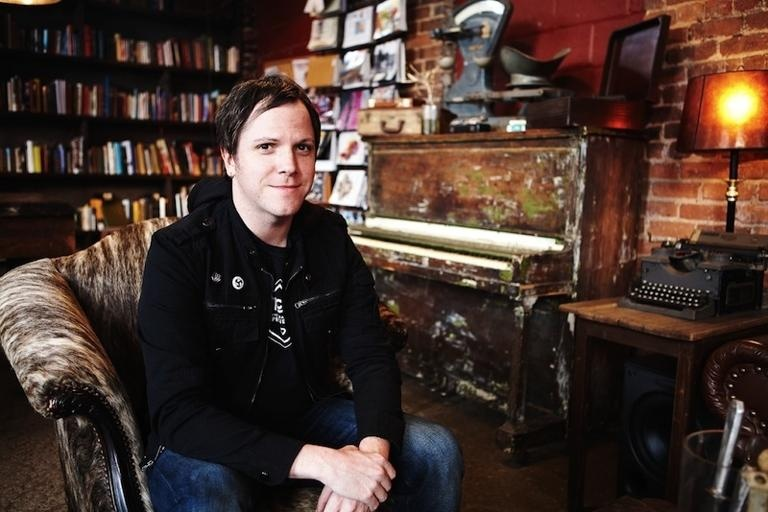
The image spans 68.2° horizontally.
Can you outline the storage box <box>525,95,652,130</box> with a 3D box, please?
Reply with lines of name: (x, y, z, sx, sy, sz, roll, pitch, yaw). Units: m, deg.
storage box: (1.096, -0.748, 2.979, 0.325, 0.086, 0.341, -5, 10, -26)
